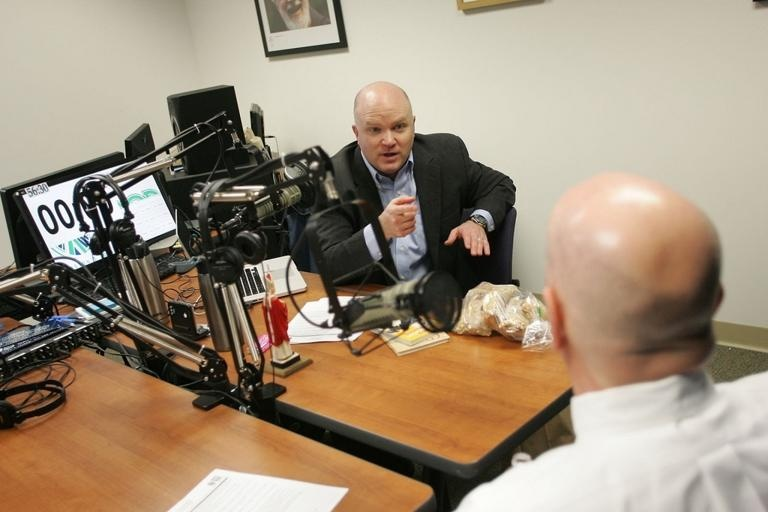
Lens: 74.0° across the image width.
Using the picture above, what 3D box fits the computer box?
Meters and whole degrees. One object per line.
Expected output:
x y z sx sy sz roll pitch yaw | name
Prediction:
-0.683 -0.302 2.064 0.403 0.274 0.217 -28 39 -23 | computer box

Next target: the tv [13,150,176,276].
-1.191 -0.163 2.178 0.257 0.435 0.605 -4 20 40 | tv

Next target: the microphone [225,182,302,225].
-0.310 -0.137 1.360 0.204 0.090 0.081 -13 21 -9 | microphone

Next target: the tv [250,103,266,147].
-0.827 -0.891 3.401 0.090 0.234 0.269 -13 21 -11 | tv

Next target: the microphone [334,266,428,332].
-0.018 0.124 1.172 0.250 0.093 0.095 -27 41 45 | microphone
